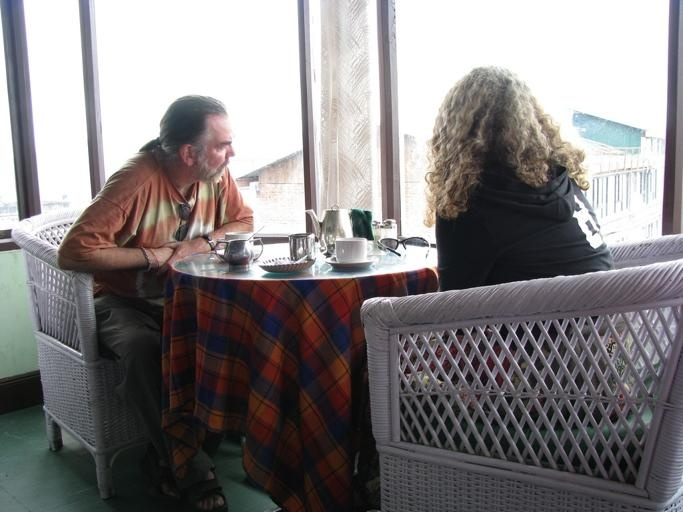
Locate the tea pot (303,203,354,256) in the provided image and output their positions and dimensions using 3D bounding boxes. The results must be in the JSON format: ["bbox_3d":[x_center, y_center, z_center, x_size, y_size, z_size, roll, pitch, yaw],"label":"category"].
[{"bbox_3d":[-0.058,-0.114,2.451,0.193,0.220,0.127,1,8,5],"label":"tea pot"}]

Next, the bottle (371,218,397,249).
[{"bbox_3d":[0.176,-0.097,2.446,0.105,0.130,0.107,1,5,5],"label":"bottle"}]

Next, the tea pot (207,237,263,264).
[{"bbox_3d":[-0.400,-0.020,2.180,0.180,0.109,0.111,0,5,7],"label":"tea pot"}]

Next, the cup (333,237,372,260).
[{"bbox_3d":[0.032,-0.027,2.017,0.088,0.064,0.070,0,-1,-5],"label":"cup"}]

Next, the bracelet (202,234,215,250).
[{"bbox_3d":[-0.585,-0.060,2.535,0.034,0.055,0.051,-29,-5,-32],"label":"bracelet"}]

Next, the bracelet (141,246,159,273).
[{"bbox_3d":[-0.792,0.012,2.421,0.037,0.088,0.072,-9,26,16],"label":"bracelet"}]

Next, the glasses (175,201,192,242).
[{"bbox_3d":[-0.711,-0.158,2.658,0.017,0.178,0.061,13,14,8],"label":"glasses"}]

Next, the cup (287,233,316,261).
[{"bbox_3d":[-0.147,-0.038,2.209,0.067,0.104,0.108,1,4,40],"label":"cup"}]

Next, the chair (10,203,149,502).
[{"bbox_3d":[-1.155,0.379,2.518,0.376,1.111,0.850,-5,8,-36],"label":"chair"}]
